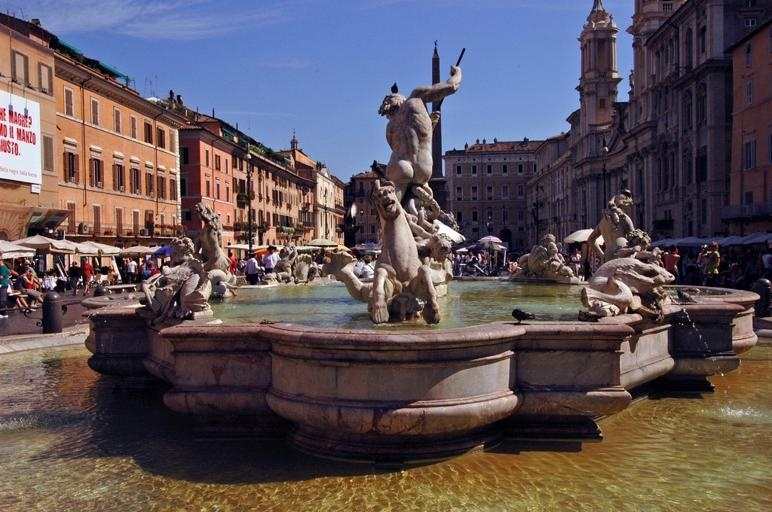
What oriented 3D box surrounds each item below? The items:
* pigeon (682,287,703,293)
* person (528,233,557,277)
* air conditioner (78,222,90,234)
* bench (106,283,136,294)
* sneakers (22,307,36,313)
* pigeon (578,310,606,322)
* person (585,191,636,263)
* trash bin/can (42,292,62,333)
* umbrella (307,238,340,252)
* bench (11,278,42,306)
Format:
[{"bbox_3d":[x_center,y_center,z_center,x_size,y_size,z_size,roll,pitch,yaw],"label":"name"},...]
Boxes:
[{"bbox_3d":[6.675,0.739,16.402,0.282,0.092,0.199,-1,1,-34],"label":"pigeon"},{"bbox_3d":[4.039,-0.046,19.306,0.686,1.091,0.816,4,2,31],"label":"person"},{"bbox_3d":[-16.693,-1.538,41.482,0.419,0.651,0.784,0,-3,5],"label":"air conditioner"},{"bbox_3d":[-7.610,0.933,21.520,0.560,0.167,0.553,-2,4,-27],"label":"bench"},{"bbox_3d":[-9.777,1.472,20.585,0.109,0.144,0.359,3,5,24],"label":"sneakers"},{"bbox_3d":[2.994,0.885,11.063,0.216,0.094,0.166,-6,-10,-9],"label":"pigeon"},{"bbox_3d":[4.923,-0.254,16.219,1.037,2.294,0.815,-2,6,26],"label":"person"},{"bbox_3d":[-8.282,1.385,18.566,0.446,1.007,0.612,-1,-3,-26],"label":"trash bin/can"},{"bbox_3d":[-3.290,-0.674,41.894,1.418,0.471,1.420,2,0,-23],"label":"umbrella"},{"bbox_3d":[-11.350,1.112,23.525,1.729,0.794,0.583,8,8,34],"label":"bench"}]
